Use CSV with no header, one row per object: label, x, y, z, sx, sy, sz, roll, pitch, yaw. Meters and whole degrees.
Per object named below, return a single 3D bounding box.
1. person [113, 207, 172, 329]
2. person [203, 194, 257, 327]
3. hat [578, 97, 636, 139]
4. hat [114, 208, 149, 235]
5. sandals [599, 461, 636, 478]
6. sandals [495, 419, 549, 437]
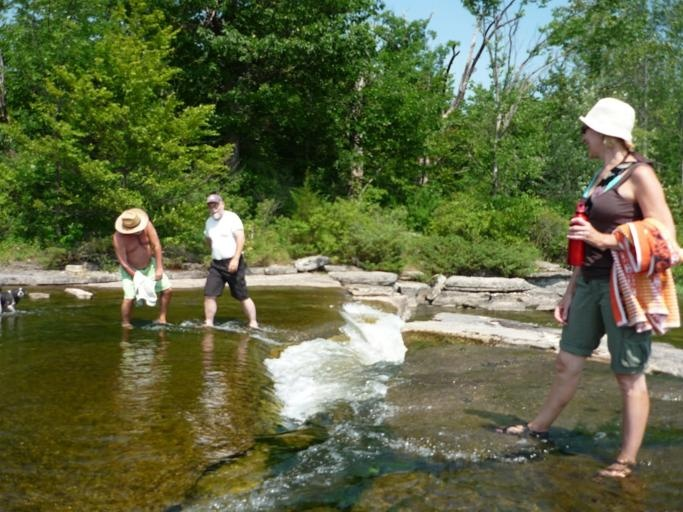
person,-3.079,0.218,9.455,0.867,1.847,0.845,5,12,-7
person,-1.781,0.138,9.658,1.008,2.119,0.838,16,15,38
hat,2.479,-1.327,5.630,0.440,0.241,0.465,-11,19,-2
hat,-3.152,-0.497,9.254,0.469,0.388,0.273,2,12,-19
sandals,2.389,1.841,5.325,0.184,0.052,0.181,-14,-2,-45
sandals,1.775,1.711,6.018,0.496,0.149,0.129,-4,-19,21
